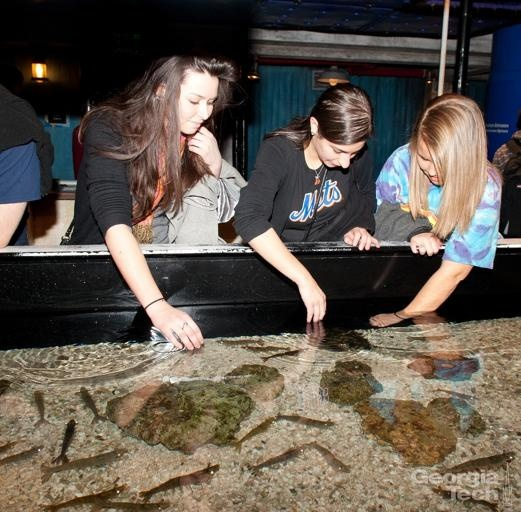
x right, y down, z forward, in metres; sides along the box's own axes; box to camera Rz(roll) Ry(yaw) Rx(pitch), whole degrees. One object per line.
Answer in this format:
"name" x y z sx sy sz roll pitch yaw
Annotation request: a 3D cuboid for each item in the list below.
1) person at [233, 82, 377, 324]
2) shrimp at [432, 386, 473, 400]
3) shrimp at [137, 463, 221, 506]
"person" 0.203 -0.241 1.657 0.498 0.760 0.795 4 26 14
"shrimp" 0.533 0.380 1.200 0.096 0.005 0.029 8 25 22
"shrimp" -0.159 0.461 0.889 0.189 0.035 0.041 -12 17 -30
